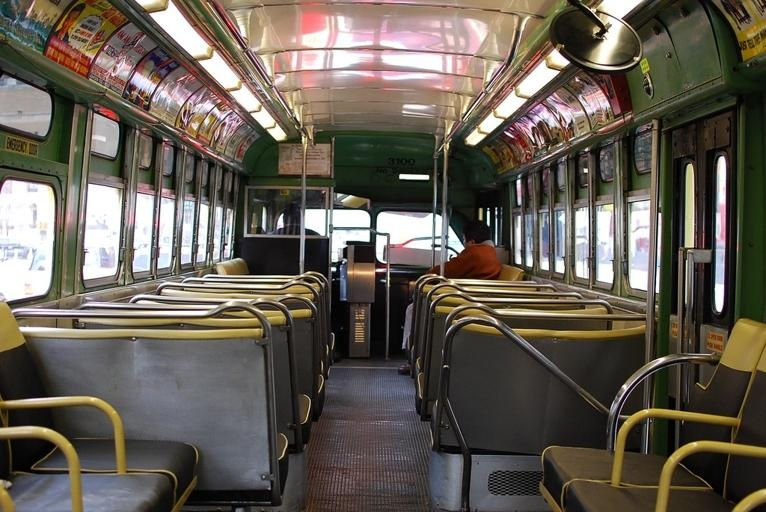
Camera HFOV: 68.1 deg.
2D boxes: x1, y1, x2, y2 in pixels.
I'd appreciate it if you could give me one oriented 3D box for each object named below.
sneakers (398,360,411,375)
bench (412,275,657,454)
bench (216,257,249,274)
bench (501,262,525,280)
[{"bbox_3d":[0.304,1.758,8.889,0.245,0.256,0.155,1,-3,-1],"label":"sneakers"},{"bbox_3d":[1.186,0.920,4.814,1.461,1.141,1.404,2,1,-3],"label":"bench"},{"bbox_3d":[-2.767,0.236,10.434,0.420,0.301,1.538,1,4,-7],"label":"bench"},{"bbox_3d":[2.351,0.288,10.283,0.269,0.309,0.301,-2,-8,-34],"label":"bench"}]
